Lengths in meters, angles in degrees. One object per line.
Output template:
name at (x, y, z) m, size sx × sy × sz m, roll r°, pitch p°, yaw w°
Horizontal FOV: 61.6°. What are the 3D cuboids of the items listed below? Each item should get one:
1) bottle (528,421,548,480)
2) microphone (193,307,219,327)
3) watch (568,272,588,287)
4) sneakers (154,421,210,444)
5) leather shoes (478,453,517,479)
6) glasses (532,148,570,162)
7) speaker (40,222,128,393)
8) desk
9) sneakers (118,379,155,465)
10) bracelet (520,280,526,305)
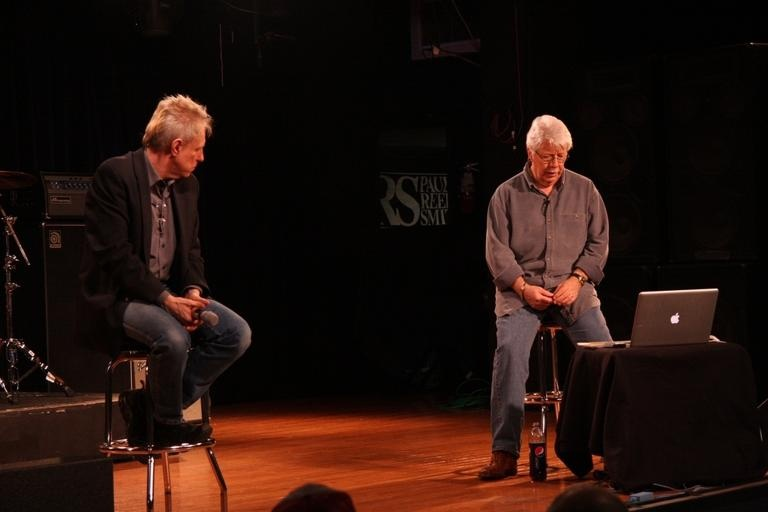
bottle at (0.887, 1.128, 3.720) m, size 0.104 × 0.299 × 0.261 m, roll -3°, pitch -3°, yaw 12°
microphone at (-0.824, 0.286, 2.990) m, size 0.060 × 0.073 × 0.162 m, roll 0°, pitch -4°, yaw -44°
watch at (1.183, 0.131, 3.944) m, size 0.083 × 0.089 × 0.092 m, roll -38°, pitch 19°, yaw 9°
sneakers at (-0.944, 0.818, 3.039) m, size 0.267 × 0.110 × 0.094 m, roll -2°, pitch 1°, yaw -16°
leather shoes at (0.665, 1.233, 3.776) m, size 0.271 × 0.127 × 0.098 m, roll 10°, pitch -11°, yaw -43°
glasses at (1.004, -0.601, 3.898) m, size 0.199 × 0.081 × 0.099 m, roll -3°, pitch -3°, yaw 7°
speaker at (-2.323, 0.676, 5.153) m, size 0.635 × 1.902 × 0.392 m, roll 1°, pitch 0°, yaw 11°
desk at (1.412, 0.810, 3.408) m, size 0.925 × 0.625 × 0.754 m, roll 1°, pitch -10°, yaw -10°
sneakers at (-1.144, 0.727, 3.027) m, size 0.106 × 0.121 × 0.305 m, roll 3°, pitch 29°, yaw -15°
bracelet at (0.830, 0.208, 3.870) m, size 0.041 × 0.113 × 0.087 m, roll 2°, pitch 1°, yaw 5°
